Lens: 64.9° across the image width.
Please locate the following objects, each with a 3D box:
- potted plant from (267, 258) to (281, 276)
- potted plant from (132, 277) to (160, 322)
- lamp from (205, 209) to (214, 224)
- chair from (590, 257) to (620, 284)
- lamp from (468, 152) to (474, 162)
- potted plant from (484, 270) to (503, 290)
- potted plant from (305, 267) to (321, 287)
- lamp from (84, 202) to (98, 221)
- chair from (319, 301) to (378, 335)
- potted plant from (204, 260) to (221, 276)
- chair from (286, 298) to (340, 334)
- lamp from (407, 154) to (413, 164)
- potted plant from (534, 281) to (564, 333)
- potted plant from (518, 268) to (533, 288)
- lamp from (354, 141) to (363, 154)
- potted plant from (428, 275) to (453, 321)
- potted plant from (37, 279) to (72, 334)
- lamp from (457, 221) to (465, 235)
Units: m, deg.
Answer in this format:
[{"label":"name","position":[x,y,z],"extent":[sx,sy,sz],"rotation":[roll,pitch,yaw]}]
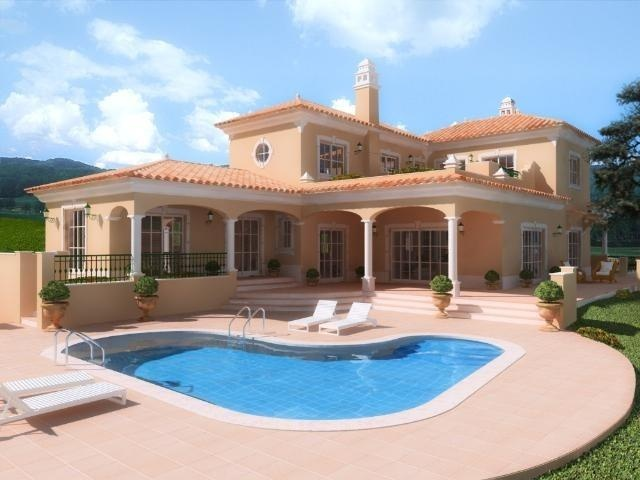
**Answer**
[{"label":"potted plant","position":[-1.985,1.204,22.307],"extent":[0.726,0.725,0.680],"rotation":[2,-2,-18]},{"label":"potted plant","position":[-5.577,1.847,16.100],"extent":[0.714,1.396,0.736],"rotation":[-2,6,-19]},{"label":"lamp","position":[-4.477,-0.958,20.459],"extent":[0.309,0.569,0.224],"rotation":[-2,6,-19]},{"label":"chair","position":[14.594,1.551,25.799],"extent":[1.130,1.166,1.503],"rotation":[-2,-1,41]},{"label":"lamp","position":[7.550,-4.173,25.122],"extent":[0.279,0.463,0.942],"rotation":[1,5,16]},{"label":"potted plant","position":[6.829,1.552,19.804],"extent":[0.599,0.757,0.490],"rotation":[-1,5,-2]},{"label":"potted plant","position":[-0.348,1.558,21.237],"extent":[0.517,0.737,0.581],"rotation":[-3,6,-25]},{"label":"lamp","position":[-8.102,-1.024,17.810],"extent":[0.434,0.567,1.181],"rotation":[-3,6,-25]},{"label":"chair","position":[0.809,2.316,14.856],"extent":[0.712,0.597,1.709],"rotation":[-1,0,45]},{"label":"potted plant","position":[-4.030,1.042,18.782],"extent":[0.577,0.530,0.533],"rotation":[0,2,-9]},{"label":"chair","position":[-0.146,2.338,15.308],"extent":[0.656,0.518,1.443],"rotation":[0,4,39]},{"label":"lamp","position":[4.808,-4.322,26.650],"extent":[0.333,0.506,0.487],"rotation":[0,5,9]},{"label":"potted plant","position":[6.555,1.886,14.399],"extent":[0.713,1.410,0.487],"rotation":[1,6,18]},{"label":"potted plant","position":[8.422,1.572,20.529],"extent":[0.720,0.684,0.667],"rotation":[-1,1,-6]},{"label":"lamp","position":[1.963,-4.428,23.933],"extent":[0.426,0.452,0.492],"rotation":[-1,0,-31]},{"label":"potted plant","position":[4.000,1.849,16.536],"extent":[0.634,1.322,0.587],"rotation":[0,5,0]},{"label":"potted plant","position":[-7.573,1.852,14.371],"extent":[0.774,1.390,0.688],"rotation":[-3,6,-28]},{"label":"lamp","position":[5.922,-0.543,21.104],"extent":[0.287,0.533,0.168],"rotation":[3,6,29]}]
